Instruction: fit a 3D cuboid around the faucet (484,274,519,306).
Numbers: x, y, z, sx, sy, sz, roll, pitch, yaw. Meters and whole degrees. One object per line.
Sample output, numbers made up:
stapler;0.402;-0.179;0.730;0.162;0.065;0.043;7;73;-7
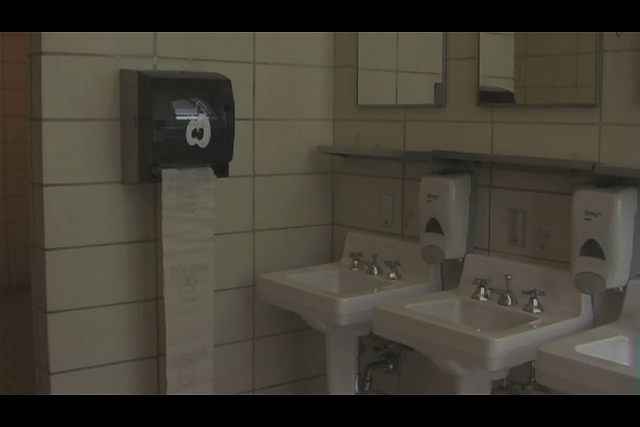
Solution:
faucet;0.608;0.251;1.764;0.111;0.099;0.081;-2;0;5

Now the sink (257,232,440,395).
sink;0.105;0.498;2.141;0.629;0.695;0.647;-1;6;-23

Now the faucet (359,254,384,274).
faucet;0.223;0.220;2.193;0.134;0.115;0.072;-1;1;6

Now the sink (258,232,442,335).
sink;0.156;0.235;2.170;0.504;0.350;0.763;-6;18;-36

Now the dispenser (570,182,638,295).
dispenser;0.817;0.072;1.491;0.178;0.301;0.119;0;-12;3

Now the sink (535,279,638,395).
sink;0.741;0.345;1.449;0.341;0.198;0.324;-5;6;-30

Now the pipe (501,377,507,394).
pipe;0.564;0.525;1.618;0.017;0.045;0.074;-3;-12;18

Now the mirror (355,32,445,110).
mirror;0.308;-0.576;2.095;0.368;0.312;0.037;-1;4;-4

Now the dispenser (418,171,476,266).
dispenser;0.454;0.019;1.937;0.186;0.302;0.168;5;9;35

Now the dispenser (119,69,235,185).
dispenser;-0.488;-0.311;1.920;0.424;0.380;0.216;-5;9;-33
